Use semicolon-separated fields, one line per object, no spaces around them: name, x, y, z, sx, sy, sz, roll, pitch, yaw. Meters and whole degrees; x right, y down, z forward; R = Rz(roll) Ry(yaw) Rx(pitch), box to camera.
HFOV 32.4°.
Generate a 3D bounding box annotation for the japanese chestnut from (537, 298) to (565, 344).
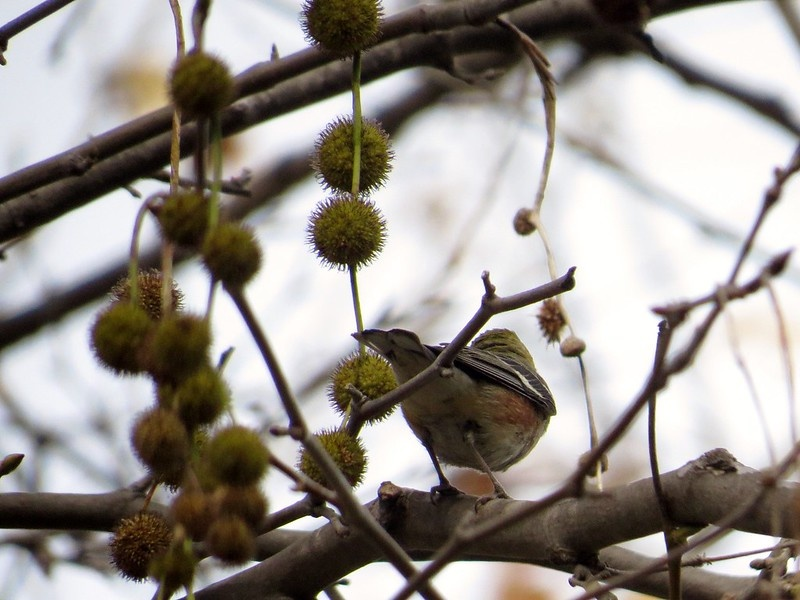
japanese chestnut;0.791;0.108;7.204;0.121;0.253;0.139;-1;-11;0
